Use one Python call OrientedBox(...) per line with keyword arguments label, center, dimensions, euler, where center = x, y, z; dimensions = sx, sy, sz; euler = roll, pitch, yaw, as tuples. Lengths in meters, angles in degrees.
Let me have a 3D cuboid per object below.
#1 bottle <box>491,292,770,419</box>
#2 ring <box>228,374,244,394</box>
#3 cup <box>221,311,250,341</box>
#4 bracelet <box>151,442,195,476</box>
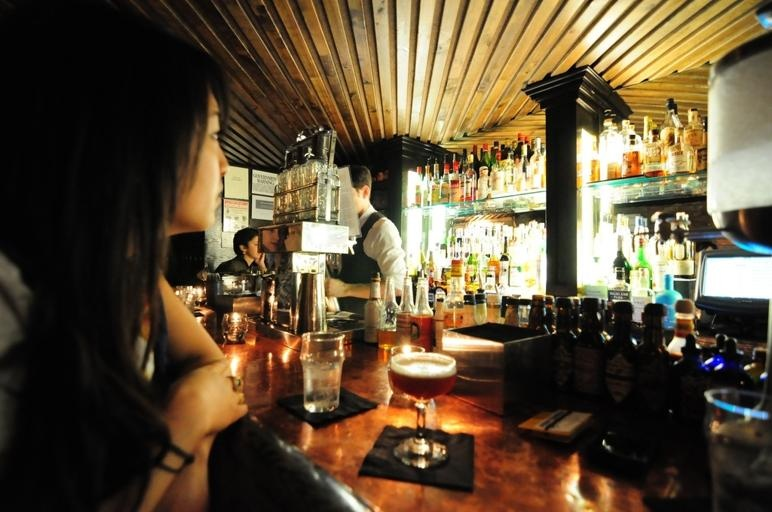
OrientedBox(label="bottle", center=(1.044, 0.395, 2.274), dimensions=(0.896, 0.432, 0.355), euler=(1, 2, 14))
OrientedBox(label="ring", center=(-0.572, 0.487, 2.108), dimensions=(0.025, 0.071, 0.074), euler=(-20, -13, -29))
OrientedBox(label="cup", center=(-0.821, 0.392, 3.081), dimensions=(0.157, 0.152, 0.153), euler=(2, 3, 0))
OrientedBox(label="bracelet", center=(-0.719, 0.677, 1.852), dimensions=(0.110, 0.106, 0.028), euler=(-44, 11, 0))
